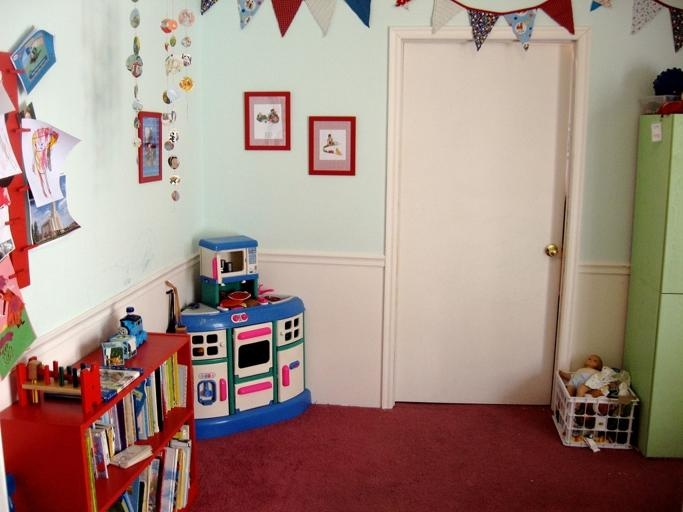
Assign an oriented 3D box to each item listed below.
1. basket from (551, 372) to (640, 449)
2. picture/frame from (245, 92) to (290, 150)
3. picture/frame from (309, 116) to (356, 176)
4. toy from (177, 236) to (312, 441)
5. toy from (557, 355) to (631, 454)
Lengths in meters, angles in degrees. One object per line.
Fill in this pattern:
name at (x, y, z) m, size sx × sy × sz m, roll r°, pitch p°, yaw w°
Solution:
basket at (1.411, 0.851, 2.916) m, size 0.306 × 0.217 × 0.332 m, roll 0°, pitch 4°, yaw 2°
picture/frame at (-0.433, -0.791, 3.083) m, size 0.271 × 0.380 × 0.025 m, roll -1°, pitch -12°, yaw -2°
picture/frame at (-0.055, -0.649, 3.072) m, size 0.269 × 0.361 × 0.024 m, roll 0°, pitch 32°, yaw -1°
toy at (-0.546, 0.436, 3.021) m, size 0.711 × 1.039 × 0.357 m, roll -5°, pitch 15°, yaw -21°
toy at (1.430, 0.772, 2.973) m, size 0.337 × 0.387 × 0.484 m, roll 0°, pitch 4°, yaw 11°
